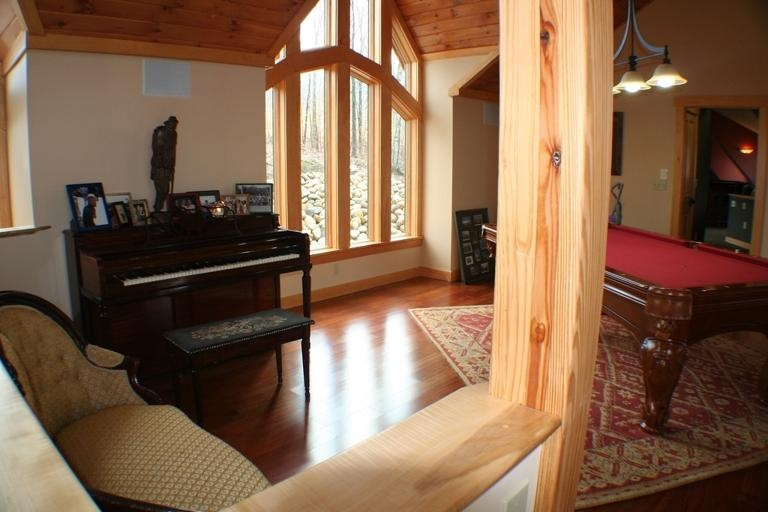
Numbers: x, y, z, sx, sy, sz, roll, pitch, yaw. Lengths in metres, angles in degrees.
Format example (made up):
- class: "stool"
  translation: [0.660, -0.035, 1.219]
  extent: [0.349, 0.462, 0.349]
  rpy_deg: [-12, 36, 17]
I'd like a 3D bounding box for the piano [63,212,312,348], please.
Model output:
- class: "piano"
  translation: [-1.776, 0.382, 4.684]
  extent: [2.077, 1.329, 1.143]
  rpy_deg: [-11, 13, -41]
